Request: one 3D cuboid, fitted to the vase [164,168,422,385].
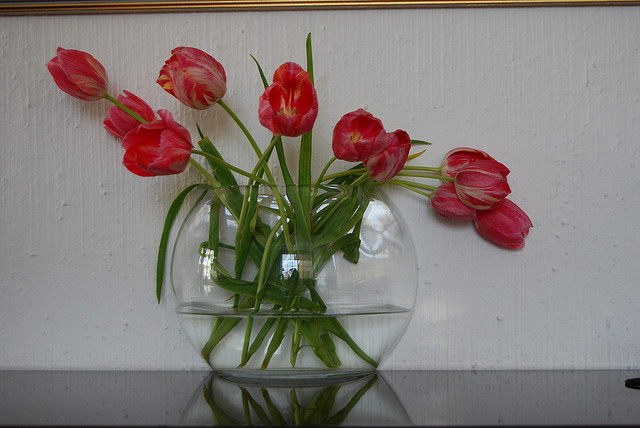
[{"bbox_3d":[-0.035,0.099,1.085,0.409,0.340,0.383,-2,5,-5],"label":"vase"}]

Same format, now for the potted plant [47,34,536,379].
[{"bbox_3d":[-0.030,-0.018,1.049,0.680,0.599,0.398,4,10,15],"label":"potted plant"}]
